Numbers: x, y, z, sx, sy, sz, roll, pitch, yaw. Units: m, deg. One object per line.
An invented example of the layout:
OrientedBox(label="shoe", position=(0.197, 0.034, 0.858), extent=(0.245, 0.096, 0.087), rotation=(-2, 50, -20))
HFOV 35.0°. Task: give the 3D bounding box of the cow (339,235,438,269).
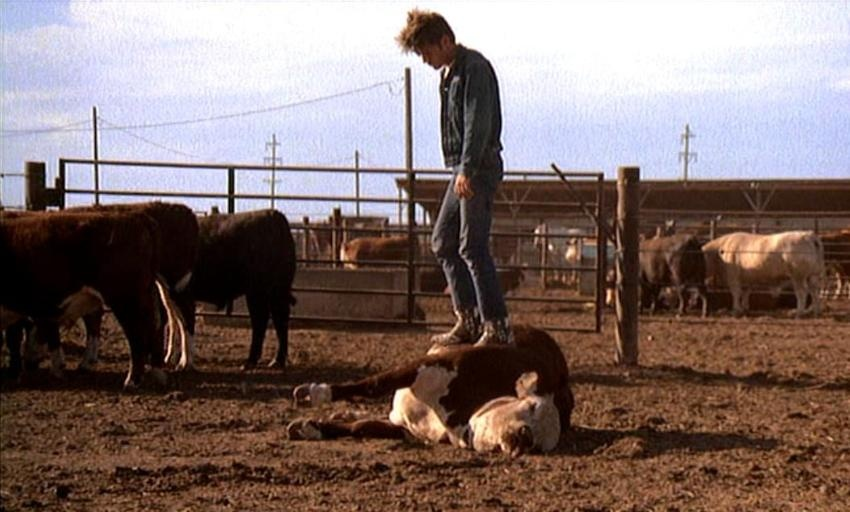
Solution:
OrientedBox(label="cow", position=(-0.818, 0.083, 25.422), extent=(1.735, 0.999, 0.507), rotation=(-2, -4, -17))

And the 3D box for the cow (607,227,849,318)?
OrientedBox(label="cow", position=(5.619, 0.196, 22.261), extent=(2.197, 1.435, 1.554), rotation=(9, 14, 36))

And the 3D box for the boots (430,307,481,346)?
OrientedBox(label="boots", position=(0.374, 0.778, 15.024), extent=(0.664, 0.563, 0.261), rotation=(2, -3, -3))
